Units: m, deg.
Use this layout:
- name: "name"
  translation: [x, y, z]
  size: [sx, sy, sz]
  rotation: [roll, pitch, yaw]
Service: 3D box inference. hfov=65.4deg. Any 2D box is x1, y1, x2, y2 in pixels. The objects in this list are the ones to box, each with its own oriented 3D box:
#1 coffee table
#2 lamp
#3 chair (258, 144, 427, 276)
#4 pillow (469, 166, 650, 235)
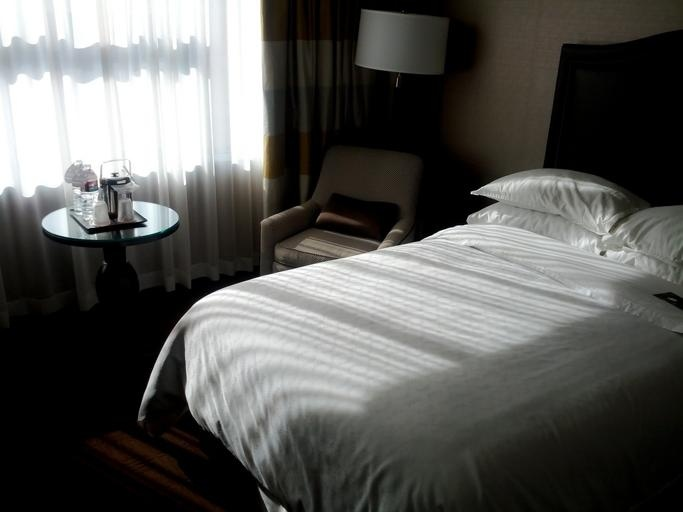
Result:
- name: "coffee table"
  translation: [-1.220, 0.140, 2.895]
  size: [0.548, 0.713, 0.604]
  rotation: [1, 16, -5]
- name: "lamp"
  translation: [0.383, -1.367, 3.634]
  size: [0.468, 0.557, 0.482]
  rotation: [-6, 32, -39]
- name: "chair"
  translation: [0.015, -0.310, 3.608]
  size: [0.805, 1.214, 1.013]
  rotation: [16, 26, 25]
- name: "pillow"
  translation: [1.212, -0.328, 2.895]
  size: [0.292, 0.235, 0.794]
  rotation: [-16, 28, -36]
